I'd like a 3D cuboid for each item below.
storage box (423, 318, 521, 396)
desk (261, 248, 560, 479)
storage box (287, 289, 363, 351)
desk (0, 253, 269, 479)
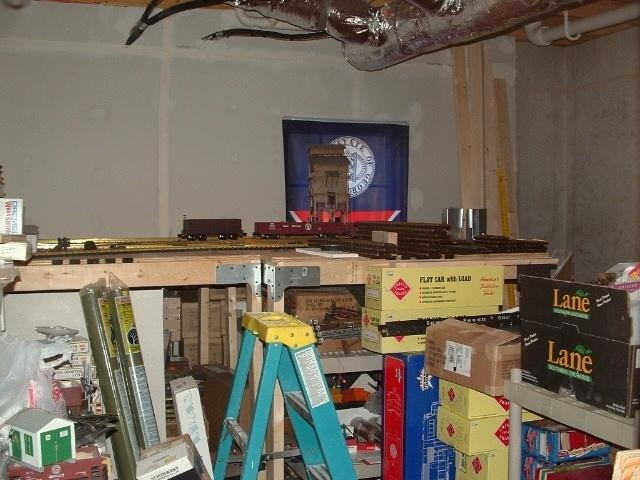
[{"bbox_3d":[0.827,0.647,3.149,0.319,0.354,0.576,-3,9,-38],"label":"storage box"},{"bbox_3d":[0.543,0.719,3.244,1.399,1.316,0.550,-1,8,-13],"label":"desk"},{"bbox_3d":[0.097,0.722,4.453,0.617,0.446,0.337,-1,2,-15],"label":"storage box"},{"bbox_3d":[-1.034,0.709,3.157,1.510,1.441,0.532,-3,13,-15],"label":"desk"}]
